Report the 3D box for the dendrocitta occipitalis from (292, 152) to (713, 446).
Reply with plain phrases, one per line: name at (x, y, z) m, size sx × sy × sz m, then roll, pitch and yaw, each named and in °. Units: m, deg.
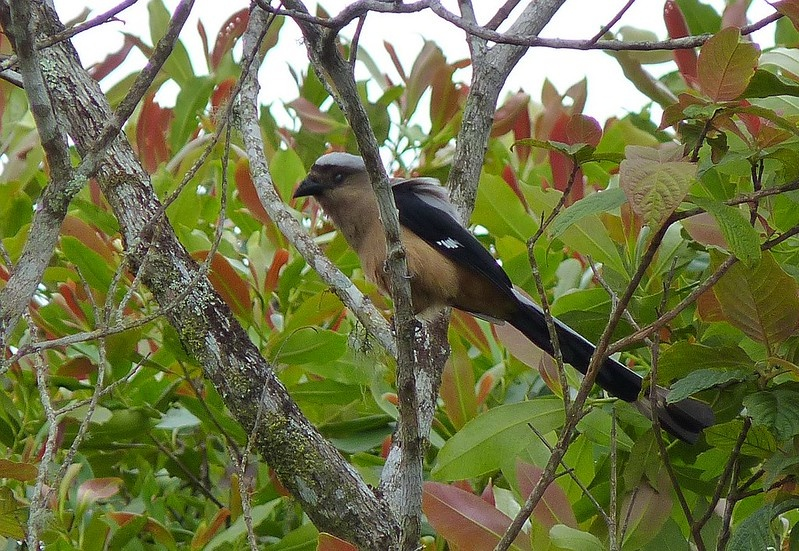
dendrocitta occipitalis at (0.385, 0.033, 5.060) m, size 1.827 × 1.909 × 0.669 m, roll -9°, pitch -29°, yaw 17°
